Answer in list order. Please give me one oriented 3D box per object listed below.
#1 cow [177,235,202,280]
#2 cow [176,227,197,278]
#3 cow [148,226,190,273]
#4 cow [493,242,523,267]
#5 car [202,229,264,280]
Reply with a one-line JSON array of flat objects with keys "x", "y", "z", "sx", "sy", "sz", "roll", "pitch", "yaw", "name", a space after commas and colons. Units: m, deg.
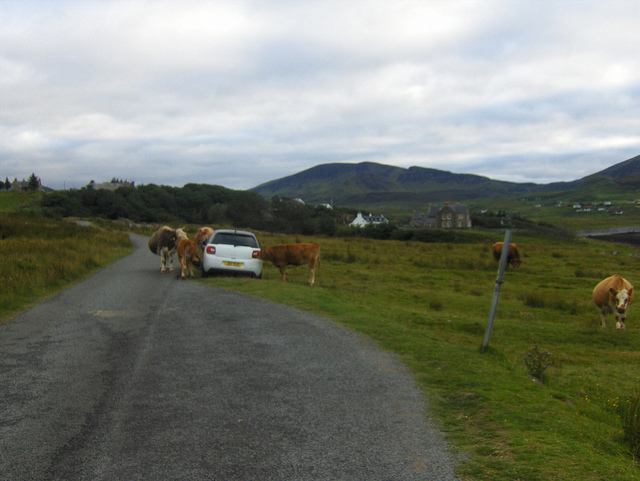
[{"x": -6.297, "y": 0.868, "z": 23.114, "sx": 1.061, "sy": 1.998, "sz": 2.839, "roll": 0, "pitch": 11, "yaw": -14, "name": "cow"}, {"x": -6.434, "y": 0.708, "z": 23.146, "sx": 0.874, "sy": 2.178, "sz": 2.309, "roll": -1, "pitch": 11, "yaw": -18, "name": "cow"}, {"x": -8.302, "y": 0.445, "z": 25.730, "sx": 1.249, "sy": 2.402, "sz": 3.975, "roll": -2, "pitch": 3, "yaw": -31, "name": "cow"}, {"x": 14.070, "y": 0.922, "z": 36.134, "sx": 1.191, "sy": 1.899, "sz": 3.275, "roll": 3, "pitch": 11, "yaw": 4, "name": "cow"}, {"x": -3.916, "y": 0.549, "z": 21.458, "sx": 1.485, "sy": 1.495, "sz": 2.890, "roll": 3, "pitch": 6, "yaw": -9, "name": "car"}]
